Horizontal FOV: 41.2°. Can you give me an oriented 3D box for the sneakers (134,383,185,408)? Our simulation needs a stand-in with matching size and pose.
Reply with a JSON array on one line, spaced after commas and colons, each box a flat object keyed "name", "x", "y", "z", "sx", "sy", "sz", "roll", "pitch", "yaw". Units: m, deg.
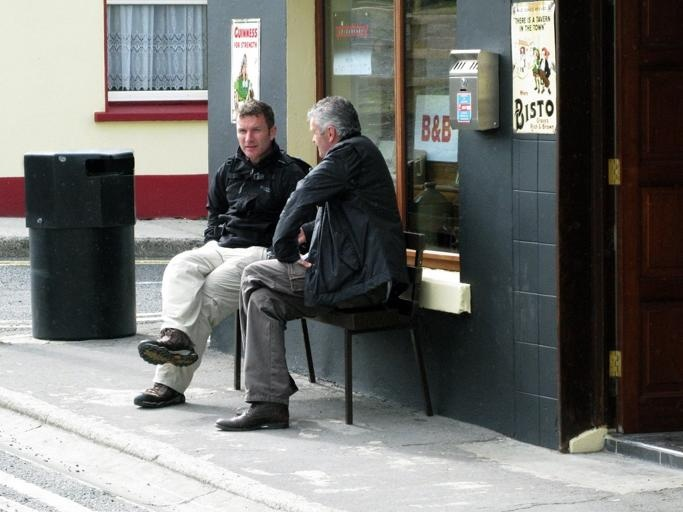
[{"name": "sneakers", "x": -1.269, "y": 0.981, "z": 6.330, "sx": 0.322, "sy": 0.161, "sz": 0.137, "roll": 5, "pitch": -2, "yaw": -29}]

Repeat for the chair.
[{"name": "chair", "x": -0.057, "y": 0.463, "z": 6.501, "sx": 0.706, "sy": 1.265, "sz": 1.273, "roll": -4, "pitch": 8, "yaw": -40}]

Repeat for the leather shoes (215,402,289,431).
[{"name": "leather shoes", "x": -0.592, "y": 1.032, "z": 5.913, "sx": 0.487, "sy": 0.214, "sz": 0.177, "roll": 2, "pitch": -1, "yaw": -9}]

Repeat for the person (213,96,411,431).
[{"name": "person", "x": -0.158, "y": 0.174, "z": 5.946, "sx": 1.164, "sy": 1.858, "sz": 0.422, "roll": -2, "pitch": 10, "yaw": -6}]
